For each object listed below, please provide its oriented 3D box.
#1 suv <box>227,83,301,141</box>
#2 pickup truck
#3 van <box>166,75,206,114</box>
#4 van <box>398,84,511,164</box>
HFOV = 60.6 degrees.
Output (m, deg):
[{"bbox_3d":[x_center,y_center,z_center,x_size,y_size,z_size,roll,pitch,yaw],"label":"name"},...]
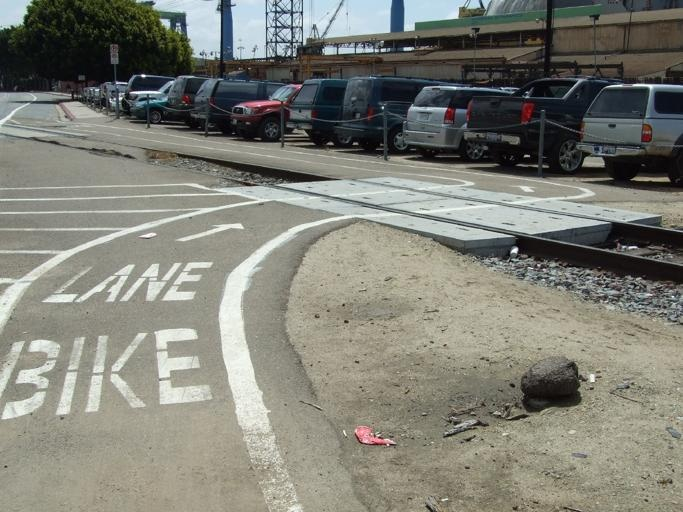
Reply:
[{"bbox_3d":[-3.451,-6.131,25.117,3.704,1.562,1.945,-10,19,-30],"label":"suv"},{"bbox_3d":[6.383,-3.886,16.944,4.886,1.816,2.553,-14,20,-28],"label":"pickup truck"},{"bbox_3d":[-8.293,-8.663,31.075,1.699,1.397,2.882,-6,20,-21],"label":"van"},{"bbox_3d":[2.947,-4.298,18.299,3.787,1.501,1.882,-14,19,-32],"label":"van"}]
